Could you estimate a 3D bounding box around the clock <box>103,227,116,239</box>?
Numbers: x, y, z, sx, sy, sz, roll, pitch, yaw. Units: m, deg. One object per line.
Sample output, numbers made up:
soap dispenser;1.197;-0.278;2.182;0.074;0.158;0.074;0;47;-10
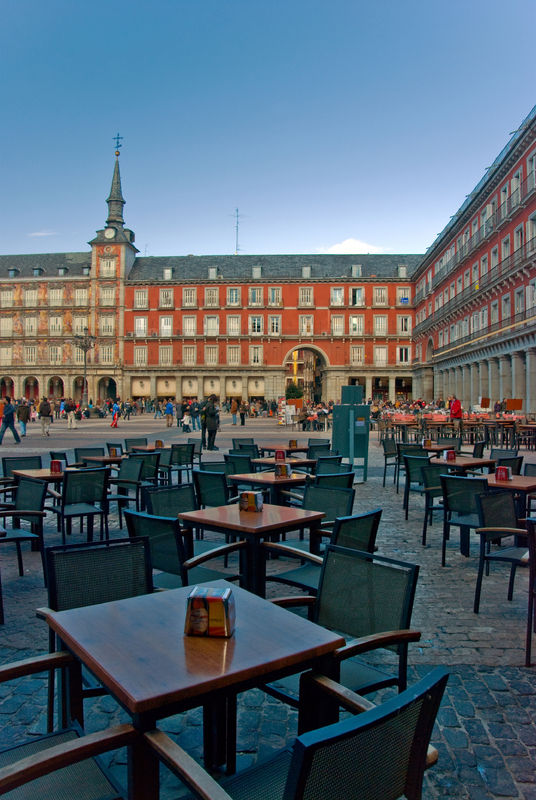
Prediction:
clock;-13.451;-14.251;59.563;1.063;1.148;0.630;-1;-1;18
